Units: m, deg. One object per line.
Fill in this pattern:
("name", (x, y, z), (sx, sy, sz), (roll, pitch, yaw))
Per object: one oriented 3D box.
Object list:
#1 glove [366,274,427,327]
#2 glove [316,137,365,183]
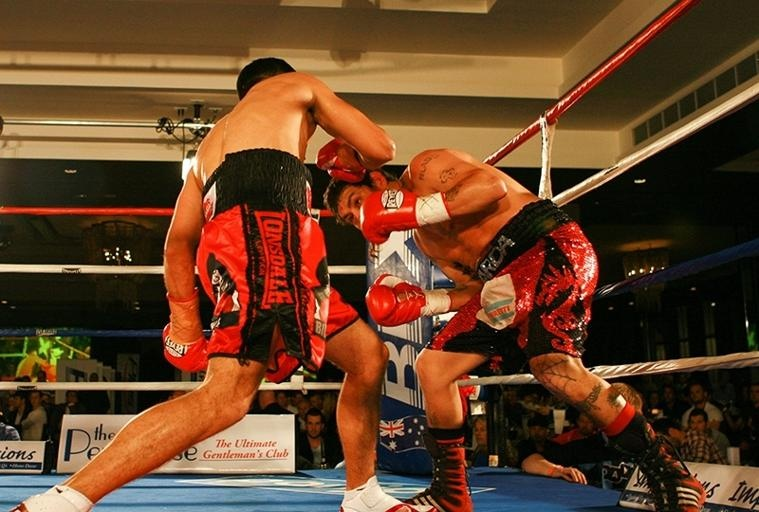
("glove", (0.097, 0.301, 5.502), (0.403, 0.303, 0.157), (-10, -50, -34))
("glove", (-0.288, -0.644, 5.442), (0.337, 0.132, 0.232), (30, -33, 7))
